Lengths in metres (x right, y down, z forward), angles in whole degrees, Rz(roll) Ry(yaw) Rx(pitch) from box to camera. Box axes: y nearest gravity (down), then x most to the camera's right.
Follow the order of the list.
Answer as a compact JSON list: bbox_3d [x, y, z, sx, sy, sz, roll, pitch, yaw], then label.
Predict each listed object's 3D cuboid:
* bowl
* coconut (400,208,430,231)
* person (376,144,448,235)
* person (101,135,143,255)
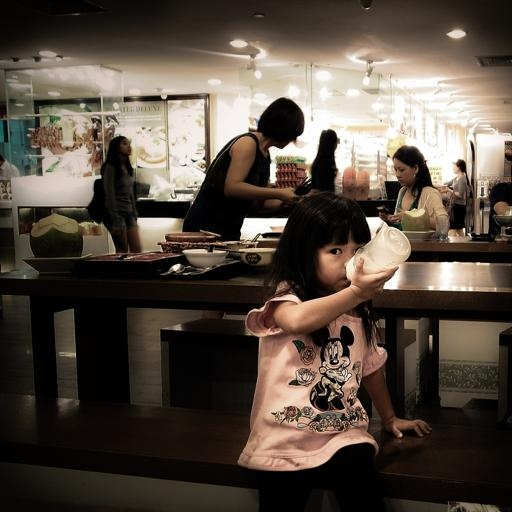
[{"bbox_3d":[-0.135,-0.033,1.526,0.363,0.097,0.390,0,0,0],"label":"bowl"},{"bbox_3d":[1.122,-0.248,3.241,0.157,0.170,0.160,0,-4,12],"label":"coconut"},{"bbox_3d":[1.222,-0.472,3.465,0.417,0.838,0.533,10,10,14],"label":"person"},{"bbox_3d":[-1.633,-0.503,5.700,0.479,1.875,0.524,5,12,22],"label":"person"}]
